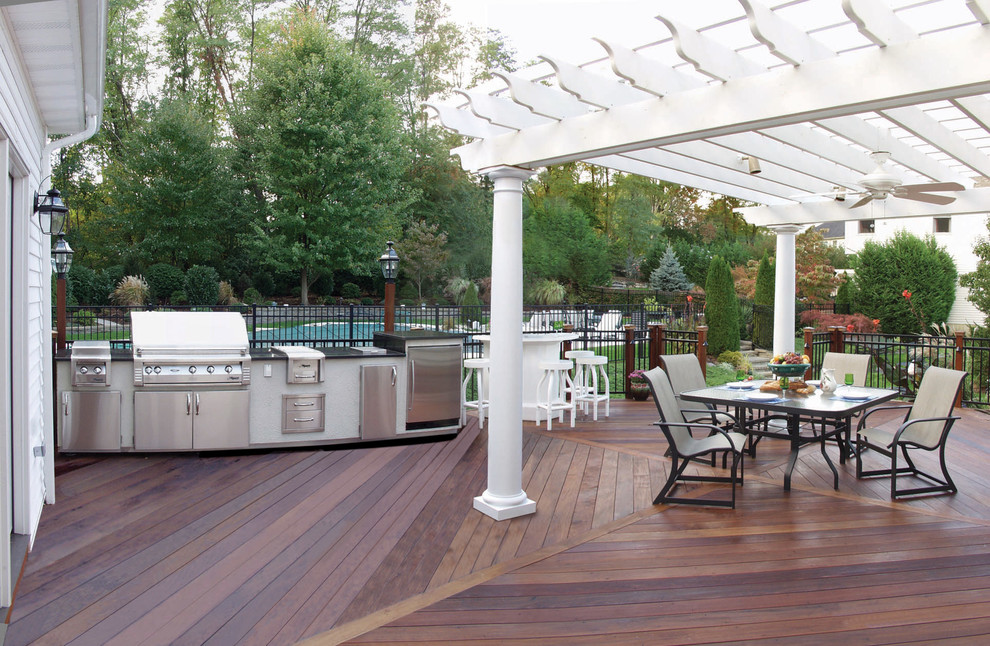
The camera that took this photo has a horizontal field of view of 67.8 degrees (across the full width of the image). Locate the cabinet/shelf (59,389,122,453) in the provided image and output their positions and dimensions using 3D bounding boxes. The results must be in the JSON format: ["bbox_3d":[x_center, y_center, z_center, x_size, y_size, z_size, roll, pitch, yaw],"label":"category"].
[{"bbox_3d":[-4.796,1.139,8.917,0.602,0.819,0.455,0,18,-4],"label":"cabinet/shelf"}]

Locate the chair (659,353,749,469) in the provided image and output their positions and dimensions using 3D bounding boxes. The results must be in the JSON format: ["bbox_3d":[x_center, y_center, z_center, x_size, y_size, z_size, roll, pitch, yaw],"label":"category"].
[{"bbox_3d":[2.501,0.988,9.421,1.263,1.592,1.136,2,7,42],"label":"chair"}]

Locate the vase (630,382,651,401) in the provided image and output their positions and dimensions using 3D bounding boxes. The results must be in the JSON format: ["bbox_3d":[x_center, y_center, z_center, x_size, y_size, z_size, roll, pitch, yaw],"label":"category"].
[{"bbox_3d":[2.438,1.146,12.462,0.323,0.248,0.329,0,1,30],"label":"vase"}]

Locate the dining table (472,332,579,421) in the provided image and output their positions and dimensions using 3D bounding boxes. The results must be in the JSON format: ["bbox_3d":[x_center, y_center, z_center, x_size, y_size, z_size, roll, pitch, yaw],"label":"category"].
[{"bbox_3d":[0.558,0.840,11.013,1.290,1.251,1.200,2,5,-16],"label":"dining table"}]

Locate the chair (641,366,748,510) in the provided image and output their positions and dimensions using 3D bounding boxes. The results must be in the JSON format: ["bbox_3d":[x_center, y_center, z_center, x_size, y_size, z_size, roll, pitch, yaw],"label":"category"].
[{"bbox_3d":[2.242,1.193,8.237,1.127,1.517,0.870,1,1,20],"label":"chair"}]

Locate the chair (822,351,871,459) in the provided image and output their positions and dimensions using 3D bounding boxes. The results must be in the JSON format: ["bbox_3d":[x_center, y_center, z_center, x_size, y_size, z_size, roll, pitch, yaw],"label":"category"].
[{"bbox_3d":[4.333,0.692,9.556,0.564,0.870,0.675,0,0,41],"label":"chair"}]

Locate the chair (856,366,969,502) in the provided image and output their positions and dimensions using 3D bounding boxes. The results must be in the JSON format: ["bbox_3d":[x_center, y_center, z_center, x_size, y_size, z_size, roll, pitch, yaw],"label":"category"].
[{"bbox_3d":[4.606,1.195,8.226,1.102,1.238,1.017,-1,5,20],"label":"chair"}]

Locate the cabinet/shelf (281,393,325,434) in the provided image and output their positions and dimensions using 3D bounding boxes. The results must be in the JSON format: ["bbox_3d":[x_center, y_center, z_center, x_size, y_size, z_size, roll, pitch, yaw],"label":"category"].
[{"bbox_3d":[-2.441,1.126,9.279,0.536,0.483,0.214,0,2,-25],"label":"cabinet/shelf"}]

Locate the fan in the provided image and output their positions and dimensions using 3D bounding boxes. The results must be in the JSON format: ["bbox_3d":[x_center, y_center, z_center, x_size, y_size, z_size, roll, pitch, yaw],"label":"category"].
[{"bbox_3d":[5.036,-1.642,9.091,1.116,0.352,1.204,-1,1,3],"label":"fan"}]

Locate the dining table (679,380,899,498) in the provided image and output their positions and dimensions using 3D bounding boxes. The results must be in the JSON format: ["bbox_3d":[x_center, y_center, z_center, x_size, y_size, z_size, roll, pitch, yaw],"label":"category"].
[{"bbox_3d":[3.545,1.405,8.906,2.409,1.260,2.157,1,1,40],"label":"dining table"}]
